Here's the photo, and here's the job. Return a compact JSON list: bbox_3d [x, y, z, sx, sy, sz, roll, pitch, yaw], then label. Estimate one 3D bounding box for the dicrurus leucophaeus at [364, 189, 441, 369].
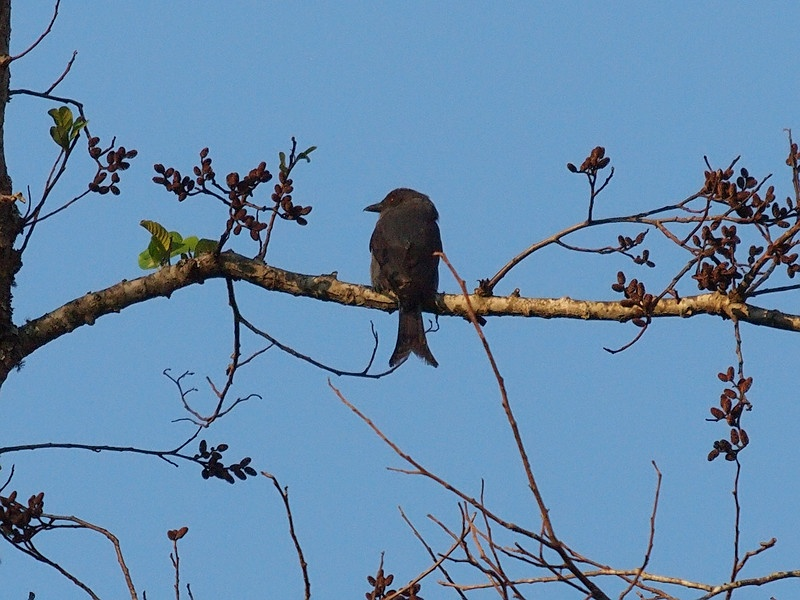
[{"bbox_3d":[0.042,-0.373,17.327,0.600,1.723,0.568,-4,-48,2],"label":"dicrurus leucophaeus"}]
